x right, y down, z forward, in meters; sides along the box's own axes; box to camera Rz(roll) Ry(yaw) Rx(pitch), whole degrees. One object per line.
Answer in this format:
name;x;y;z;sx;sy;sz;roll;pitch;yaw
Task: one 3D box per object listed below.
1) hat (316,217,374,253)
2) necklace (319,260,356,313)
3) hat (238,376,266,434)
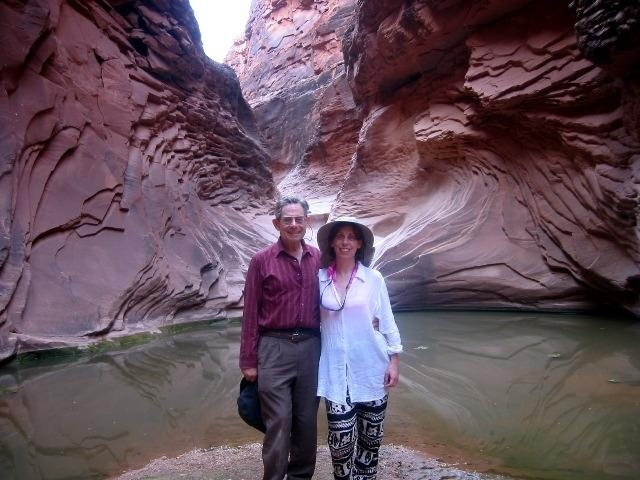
hat;0.160;-0.044;2.644;0.267;0.079;0.277;0;-52;2
necklace;0.105;0.312;2.497;0.189;0.325;0.077;4;-15;5
hat;-0.448;1.064;2.502;0.147;0.332;0.264;-5;9;-16
